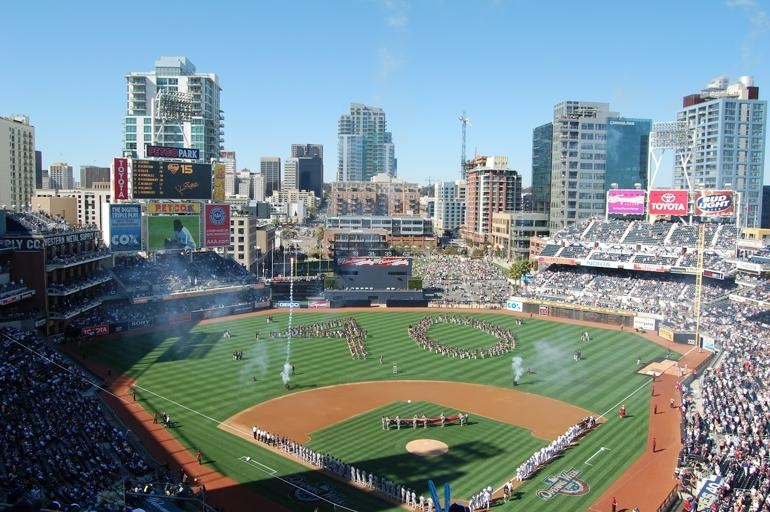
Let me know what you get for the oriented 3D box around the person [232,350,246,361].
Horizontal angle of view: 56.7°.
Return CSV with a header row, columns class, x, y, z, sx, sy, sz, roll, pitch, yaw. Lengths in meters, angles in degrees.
class,x,y,z,sx,sy,sz,roll,pitch,yaw
person,-21.555,14.735,105.045,1.300,0.950,1.307,5,11,21
